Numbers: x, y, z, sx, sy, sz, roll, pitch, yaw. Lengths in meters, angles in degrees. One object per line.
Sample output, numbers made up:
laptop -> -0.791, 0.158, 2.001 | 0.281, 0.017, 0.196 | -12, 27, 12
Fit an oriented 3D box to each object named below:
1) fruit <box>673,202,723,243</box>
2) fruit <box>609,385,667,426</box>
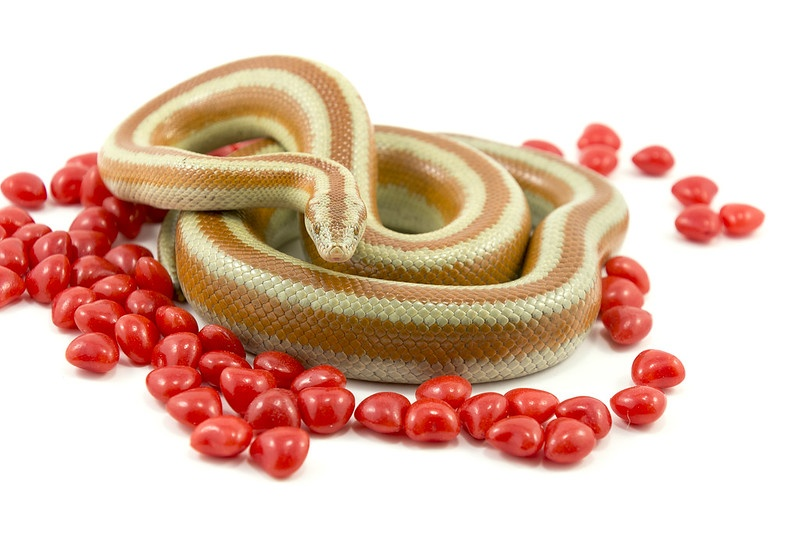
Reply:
fruit -> 2.247, -0.334, 6.057 | 0.254, 0.330, 0.204 | 15, -98, -16
fruit -> 1.345, 0.794, 4.490 | 0.319, 0.153, 0.216 | 0, -73, 1
